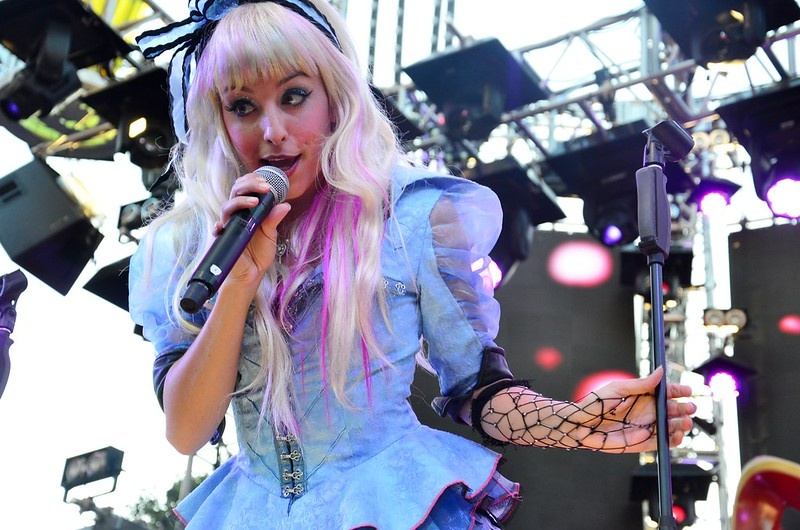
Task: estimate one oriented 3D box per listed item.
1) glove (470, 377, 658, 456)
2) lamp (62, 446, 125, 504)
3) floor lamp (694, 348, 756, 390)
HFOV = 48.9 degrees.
[{"bbox_3d":[0.711,0.676,3.860,0.876,0.381,0.302,-1,-24,4],"label":"glove"},{"bbox_3d":[-2.609,1.728,7.381,0.610,0.427,0.147,-18,-1,11],"label":"lamp"},{"bbox_3d":[2.907,0.980,7.852,0.604,0.366,0.245,-17,1,-31],"label":"floor lamp"}]
